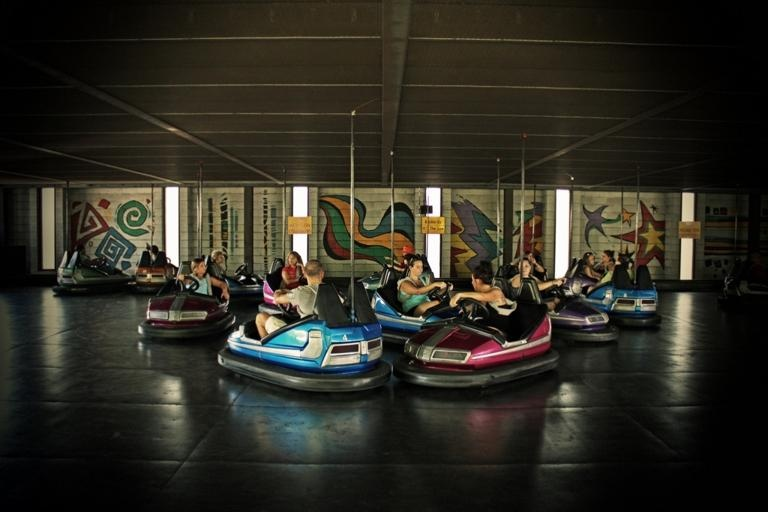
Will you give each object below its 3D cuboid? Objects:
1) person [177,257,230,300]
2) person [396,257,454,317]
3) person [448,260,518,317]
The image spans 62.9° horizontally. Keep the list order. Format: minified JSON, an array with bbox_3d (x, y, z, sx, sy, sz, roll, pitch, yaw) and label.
[{"bbox_3d":[-2.434,0.323,8.419,0.635,0.582,0.839,-1,2,-18],"label":"person"},{"bbox_3d":[0.580,0.370,7.928,0.823,0.721,0.473,2,10,29],"label":"person"},{"bbox_3d":[1.030,0.364,6.738,0.798,0.561,0.368,-2,3,-41],"label":"person"}]
